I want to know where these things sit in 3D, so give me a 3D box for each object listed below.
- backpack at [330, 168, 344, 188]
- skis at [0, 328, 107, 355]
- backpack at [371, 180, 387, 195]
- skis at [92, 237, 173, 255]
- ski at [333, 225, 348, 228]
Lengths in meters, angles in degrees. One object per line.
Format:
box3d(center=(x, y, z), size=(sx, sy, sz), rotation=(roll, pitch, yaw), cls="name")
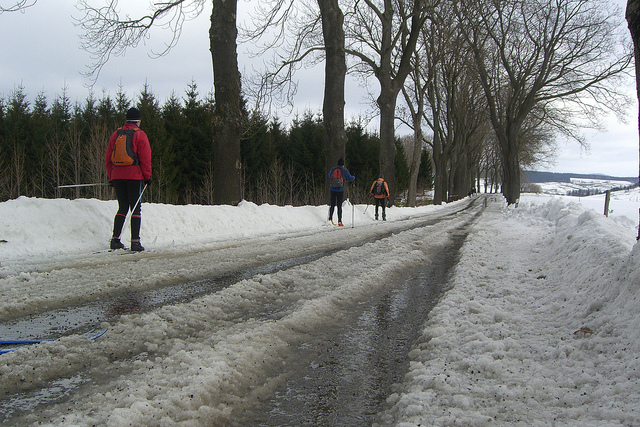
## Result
box3d(center=(0.552, -1.156, 18.003), size=(0.367, 0.624, 0.398), rotation=(1, 4, 0), cls="backpack")
box3d(center=(-4.005, 1.911, 8.260), size=(1.398, 0.257, 0.240), rotation=(0, 4, -14), cls="skis")
box3d(center=(2.203, -0.958, 20.751), size=(0.335, 0.556, 0.538), rotation=(3, 21, 10), cls="backpack")
box3d(center=(-4.063, 0.710, 11.840), size=(1.862, 0.229, 0.166), rotation=(-3, -16, -26), cls="skis")
box3d(center=(0.625, 0.403, 16.887), size=(0.153, 0.027, 1.175), rotation=(3, 5, 18), cls="ski")
